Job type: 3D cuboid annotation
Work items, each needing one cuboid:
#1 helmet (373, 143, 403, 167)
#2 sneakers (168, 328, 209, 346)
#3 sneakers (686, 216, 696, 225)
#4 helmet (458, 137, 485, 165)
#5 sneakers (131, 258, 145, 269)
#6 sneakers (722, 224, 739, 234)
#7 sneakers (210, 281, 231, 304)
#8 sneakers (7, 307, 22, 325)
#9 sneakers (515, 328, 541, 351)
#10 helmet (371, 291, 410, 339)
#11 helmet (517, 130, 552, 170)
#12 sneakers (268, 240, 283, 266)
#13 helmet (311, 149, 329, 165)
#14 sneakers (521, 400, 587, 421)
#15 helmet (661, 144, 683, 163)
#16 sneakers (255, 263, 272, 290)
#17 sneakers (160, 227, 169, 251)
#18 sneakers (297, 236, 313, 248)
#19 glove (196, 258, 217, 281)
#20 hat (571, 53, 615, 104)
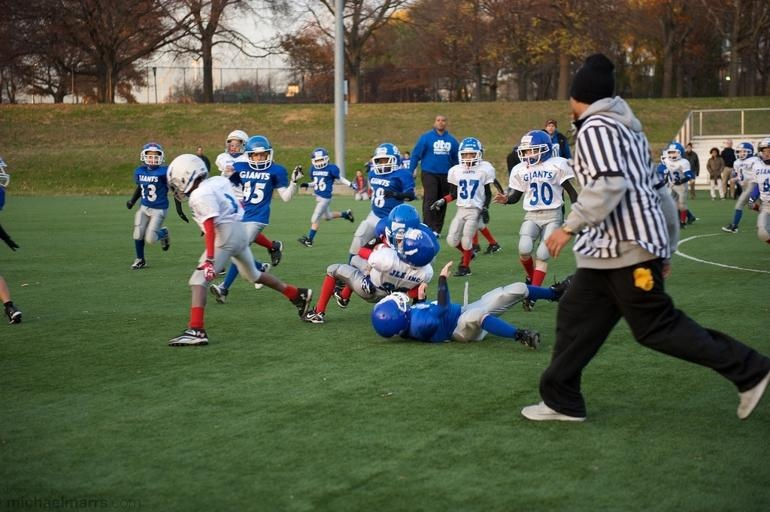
[{"bbox_3d":[0.004,-1.509,11.173,0.376,0.345,0.465,-5,4,18],"label":"helmet"},{"bbox_3d":[-2.051,0.881,7.760,0.473,0.193,0.160,1,-2,-7],"label":"sneakers"},{"bbox_3d":[7.347,-0.815,17.570,0.203,0.124,0.450,1,3,15],"label":"sneakers"},{"bbox_3d":[1.337,-1.624,11.465,0.404,0.366,0.489,1,8,13],"label":"helmet"},{"bbox_3d":[-4.059,0.153,12.140,0.120,0.140,0.315,0,-2,11],"label":"sneakers"},{"bbox_3d":[7.462,-0.560,15.860,0.163,0.190,0.435,-2,5,-44],"label":"sneakers"},{"bbox_3d":[-2.148,0.501,9.607,0.210,0.124,0.376,-27,-15,-10],"label":"sneakers"},{"bbox_3d":[-4.181,0.686,8.343,0.146,0.196,0.081,-1,19,13],"label":"sneakers"},{"bbox_3d":[1.439,0.838,7.337,0.155,0.106,0.318,-3,7,-12],"label":"sneakers"},{"bbox_3d":[0.083,0.607,7.747,0.402,0.441,0.406,15,7,31],"label":"helmet"},{"bbox_3d":[2.078,-1.440,9.806,0.528,0.372,0.404,-22,11,-32],"label":"helmet"},{"bbox_3d":[-1.699,-0.011,11.319,0.174,0.420,0.237,14,25,38],"label":"sneakers"},{"bbox_3d":[-1.435,-2.137,15.981,0.400,0.343,0.475,-3,4,1],"label":"helmet"},{"bbox_3d":[1.384,1.300,6.014,0.517,0.173,0.175,5,8,11],"label":"sneakers"},{"bbox_3d":[7.279,-2.588,18.519,0.472,0.432,0.611,9,20,18],"label":"helmet"},{"bbox_3d":[-1.525,0.276,9.155,0.161,0.405,0.197,1,-4,-7],"label":"sneakers"},{"bbox_3d":[-3.979,-0.279,13.262,0.172,0.438,0.210,-2,27,-5],"label":"sneakers"},{"bbox_3d":[-1.575,-0.245,14.549,0.261,0.168,0.081,24,42,-9],"label":"sneakers"},{"bbox_3d":[-1.879,0.154,7.795,0.082,0.233,0.239,-35,69,-28],"label":"glove"},{"bbox_3d":[1.641,-1.407,5.875,0.355,0.363,0.428,-9,15,-35],"label":"hat"}]
